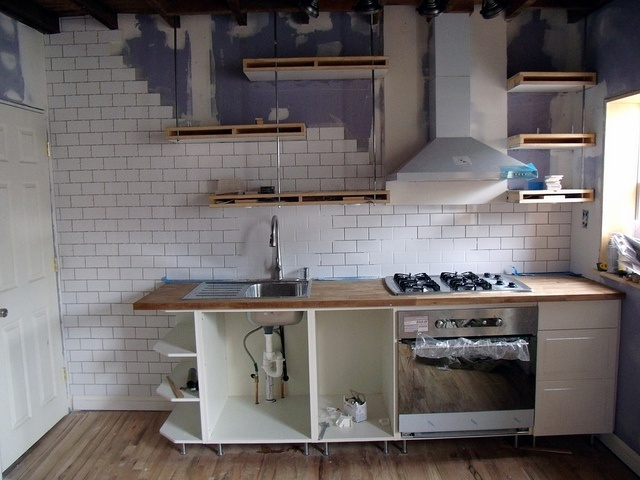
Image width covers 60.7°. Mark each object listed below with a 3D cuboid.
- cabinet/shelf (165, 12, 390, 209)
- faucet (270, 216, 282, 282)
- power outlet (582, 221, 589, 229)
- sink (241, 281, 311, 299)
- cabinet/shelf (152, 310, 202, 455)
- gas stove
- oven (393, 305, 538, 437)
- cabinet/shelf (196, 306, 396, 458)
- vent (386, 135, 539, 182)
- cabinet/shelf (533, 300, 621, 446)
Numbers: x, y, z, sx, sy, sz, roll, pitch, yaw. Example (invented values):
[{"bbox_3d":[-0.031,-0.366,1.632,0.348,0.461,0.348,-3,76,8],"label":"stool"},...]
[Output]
[{"bbox_3d":[-0.376,-1.149,4.851,1.858,1.526,0.525,0,10,-1],"label":"cabinet/shelf"},{"bbox_3d":[-0.397,0.073,4.815,0.107,0.579,0.356,-3,7,-5],"label":"faucet"},{"bbox_3d":[2.316,-0.135,4.800,0.067,0.079,0.011,-3,11,25],"label":"power outlet"},{"bbox_3d":[-0.388,0.434,4.807,0.540,0.128,0.173,-3,7,-8],"label":"sink"},{"bbox_3d":[-1.178,1.328,4.694,0.324,0.780,0.906,2,-2,-14],"label":"cabinet/shelf"},{"bbox_3d":[1.128,0.352,4.644,1.167,0.109,0.572,-2,6,-1],"label":"gas stove"},{"bbox_3d":[1.147,1.052,4.824,1.407,1.315,0.952,-1,1,1],"label":"oven"},{"bbox_3d":[-0.179,1.098,4.696,1.589,1.182,0.644,-2,7,2],"label":"cabinet/shelf"},{"bbox_3d":[1.173,-0.691,4.597,1.153,0.367,0.355,-2,7,-1],"label":"vent"},{"bbox_3d":[2.001,1.025,4.739,0.845,1.263,0.801,1,3,5],"label":"cabinet/shelf"}]
